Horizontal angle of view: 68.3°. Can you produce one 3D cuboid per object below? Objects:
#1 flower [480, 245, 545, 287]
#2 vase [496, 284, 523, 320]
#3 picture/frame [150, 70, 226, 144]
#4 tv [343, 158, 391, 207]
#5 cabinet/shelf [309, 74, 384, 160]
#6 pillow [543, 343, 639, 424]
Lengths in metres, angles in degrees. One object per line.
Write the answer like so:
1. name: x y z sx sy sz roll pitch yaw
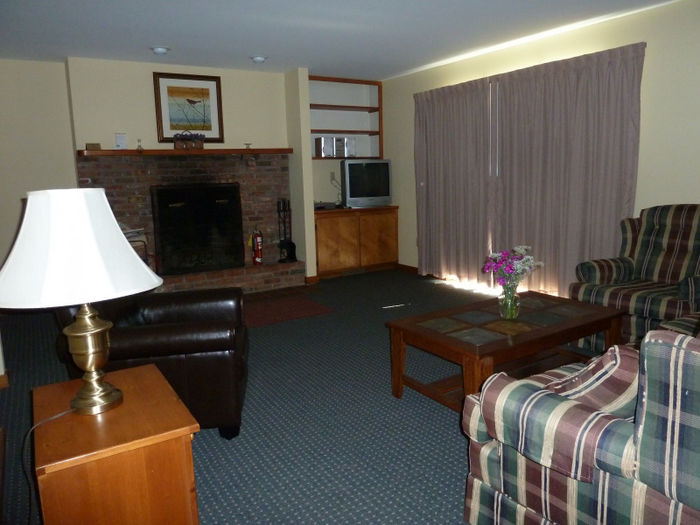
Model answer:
1. flower: 1.463 0.023 4.532 0.405 0.288 0.403 -17 18 -42
2. vase: 1.122 0.287 3.625 0.156 0.269 0.174 -10 15 -31
3. picture/frame: -2.035 -1.923 6.307 0.901 0.895 0.064 -5 10 -31
4. tv: 0.214 -1.155 7.384 0.616 0.607 0.337 -5 10 -29
5. cabinet/shelf: -0.086 -2.156 7.504 1.141 1.124 0.371 -6 10 -30
6. pillow: 1.025 0.455 2.161 0.292 0.296 0.294 -8 17 -37
